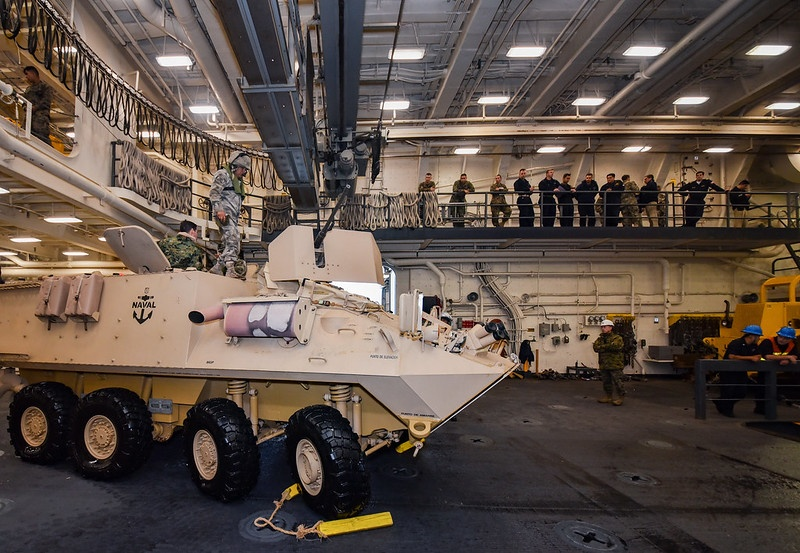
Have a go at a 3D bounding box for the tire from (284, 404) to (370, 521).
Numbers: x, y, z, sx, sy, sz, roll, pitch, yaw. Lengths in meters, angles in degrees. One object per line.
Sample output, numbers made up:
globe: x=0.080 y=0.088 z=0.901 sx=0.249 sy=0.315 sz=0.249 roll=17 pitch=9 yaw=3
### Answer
tire: x=-1.279 y=3.252 z=12.234 sx=1.680 sy=1.716 sz=0.657 roll=10 pitch=7 yaw=43

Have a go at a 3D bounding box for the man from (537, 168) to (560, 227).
man: x=4.456 y=-2.302 z=21.115 sx=0.557 sy=1.726 sz=1.268 roll=3 pitch=3 yaw=12

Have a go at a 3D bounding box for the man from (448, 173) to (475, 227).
man: x=1.845 y=-2.270 z=21.229 sx=0.661 sy=1.699 sz=1.653 roll=3 pitch=3 yaw=3

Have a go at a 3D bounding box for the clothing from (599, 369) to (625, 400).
clothing: x=5.416 y=2.740 z=17.861 sx=0.328 sy=1.027 sz=0.559 roll=13 pitch=-22 yaw=-31

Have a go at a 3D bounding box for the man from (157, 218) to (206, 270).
man: x=-4.741 y=-0.667 z=15.018 sx=1.088 sy=1.085 sz=0.625 roll=18 pitch=16 yaw=0

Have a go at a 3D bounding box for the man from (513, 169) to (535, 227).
man: x=3.777 y=-2.324 z=21.201 sx=0.649 sy=1.748 sz=1.587 roll=3 pitch=3 yaw=10

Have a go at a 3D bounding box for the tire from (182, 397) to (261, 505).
tire: x=-3.221 y=3.103 z=12.660 sx=1.347 sy=1.753 sz=0.468 roll=4 pitch=3 yaw=25

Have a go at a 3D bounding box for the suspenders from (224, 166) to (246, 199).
suspenders: x=-3.289 y=-1.834 z=14.038 sx=0.192 sy=0.555 sz=0.392 roll=-10 pitch=7 yaw=-4

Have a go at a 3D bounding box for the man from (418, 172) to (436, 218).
man: x=0.769 y=-2.306 z=21.023 sx=0.463 sy=1.560 sz=1.491 roll=3 pitch=3 yaw=2

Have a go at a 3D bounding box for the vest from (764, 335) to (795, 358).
vest: x=9.123 y=1.738 z=16.907 sx=0.680 sy=0.390 sz=0.950 roll=6 pitch=-5 yaw=17

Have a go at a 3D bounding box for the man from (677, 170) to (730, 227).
man: x=9.623 y=-2.374 z=22.264 sx=1.877 sy=2.497 sz=0.672 roll=2 pitch=5 yaw=20
